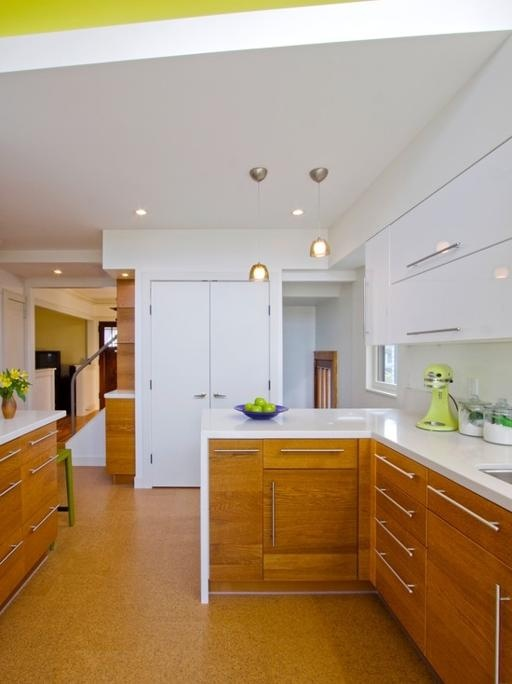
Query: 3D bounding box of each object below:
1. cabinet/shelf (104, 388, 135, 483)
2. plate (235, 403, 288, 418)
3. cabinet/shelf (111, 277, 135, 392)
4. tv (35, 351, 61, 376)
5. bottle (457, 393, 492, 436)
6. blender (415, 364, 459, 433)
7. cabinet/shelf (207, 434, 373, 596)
[{"bbox_3d":[-1.149,0.789,4.432,0.316,0.777,0.832,0,0,-8],"label":"cabinet/shelf"},{"bbox_3d":[0.021,0.374,2.795,0.269,0.072,0.267,0,1,-3],"label":"plate"},{"bbox_3d":[-1.155,-0.070,4.623,0.140,0.994,0.161,0,1,-19],"label":"cabinet/shelf"},{"bbox_3d":[-3.368,0.349,8.415,0.151,0.411,0.448,-1,0,11],"label":"tv"},{"bbox_3d":[0.938,0.320,2.279,0.148,0.164,0.148,0,3,-2],"label":"bottle"},{"bbox_3d":[0.851,0.258,2.457,0.170,0.301,0.185,-1,1,-42],"label":"blender"},{"bbox_3d":[0.106,0.832,2.595,0.814,0.690,0.423,3,-12,-11],"label":"cabinet/shelf"}]
